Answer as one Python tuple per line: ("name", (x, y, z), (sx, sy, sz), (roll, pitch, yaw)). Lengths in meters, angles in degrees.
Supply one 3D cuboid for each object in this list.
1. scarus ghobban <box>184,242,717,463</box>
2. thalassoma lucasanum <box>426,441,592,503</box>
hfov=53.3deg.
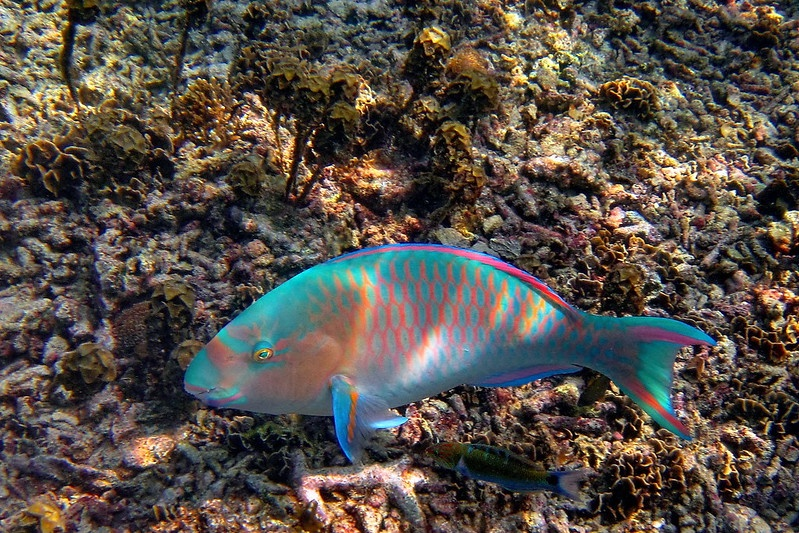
("scarus ghobban", (1.197, 0.732, 9.096), (7.339, 1.912, 2.814), (-1, 93, -2))
("thalassoma lucasanum", (0.986, 2.028, 8.023), (1.663, 0.361, 0.518), (10, 106, 21))
